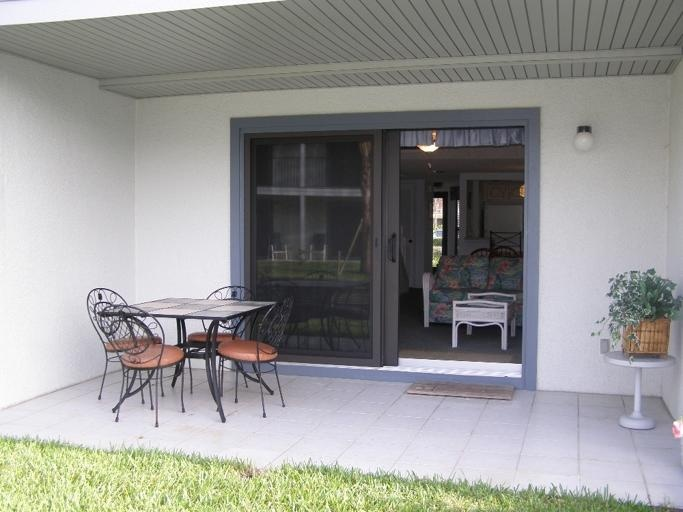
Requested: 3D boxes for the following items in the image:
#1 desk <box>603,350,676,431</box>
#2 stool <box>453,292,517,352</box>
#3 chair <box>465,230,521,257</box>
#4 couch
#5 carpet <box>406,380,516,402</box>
[{"bbox_3d":[2.565,1.117,4.654,0.485,0.670,0.507,5,3,21],"label":"desk"},{"bbox_3d":[1.979,0.865,7.311,0.794,0.623,1.376,1,3,19],"label":"stool"},{"bbox_3d":[4.110,-0.271,14.177,1.333,0.752,0.832,0,4,16],"label":"chair"},{"bbox_3d":[2.164,0.439,8.746,1.861,1.072,1.130,4,4,20],"label":"couch"},{"bbox_3d":[1.231,1.384,5.476,1.083,0.042,0.477,1,3,14],"label":"carpet"}]
